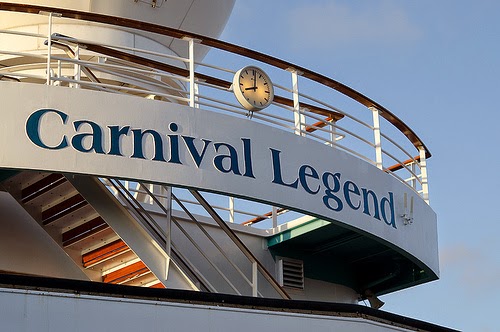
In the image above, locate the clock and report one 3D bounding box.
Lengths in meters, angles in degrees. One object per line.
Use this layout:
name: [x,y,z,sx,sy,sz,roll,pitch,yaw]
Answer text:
clock: [0.081,-1.290,23.126,0.782,0.595,0.561,19,-48,-25]
